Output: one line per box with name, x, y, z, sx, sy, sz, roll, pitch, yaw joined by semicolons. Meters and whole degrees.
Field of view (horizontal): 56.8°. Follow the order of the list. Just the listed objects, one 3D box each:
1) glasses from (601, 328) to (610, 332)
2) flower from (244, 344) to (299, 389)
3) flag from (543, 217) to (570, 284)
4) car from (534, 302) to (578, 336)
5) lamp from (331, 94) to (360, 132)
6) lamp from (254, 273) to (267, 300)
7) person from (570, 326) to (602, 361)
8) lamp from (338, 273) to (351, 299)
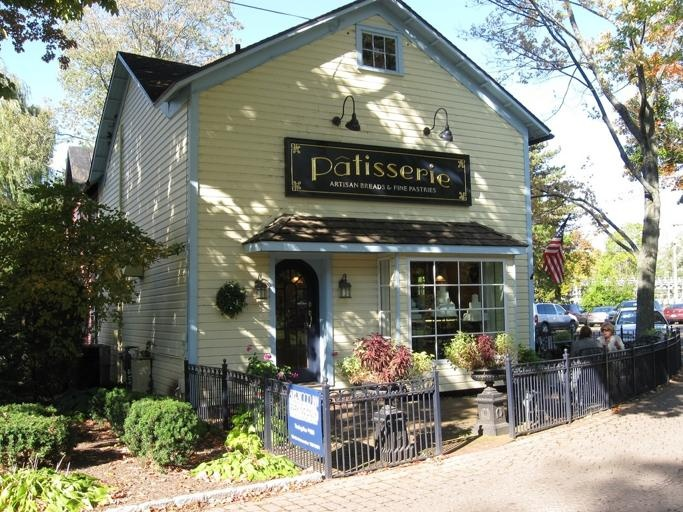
glasses;6.476;1.776;15.467;0.123;0.044;0.116;22;-22;-18
flower;-1.537;2.203;12.306;1.098;0.630;0.912;13;-3;7
flag;6.207;-0.181;18.247;0.704;1.950;0.816;-5;-11;21
car;11.185;3.192;33.653;1.097;1.489;3.638;-8;-13;31
lamp;0.134;-3.597;15.770;0.764;0.971;0.299;3;-11;-22
lamp;-1.829;0.702;14.521;0.342;0.596;0.191;4;-12;-28
person;5.469;1.904;14.205;0.607;0.787;1.485;-5;-11;20
lamp;0.082;0.704;15.451;0.345;0.622;0.274;1;-11;-13
